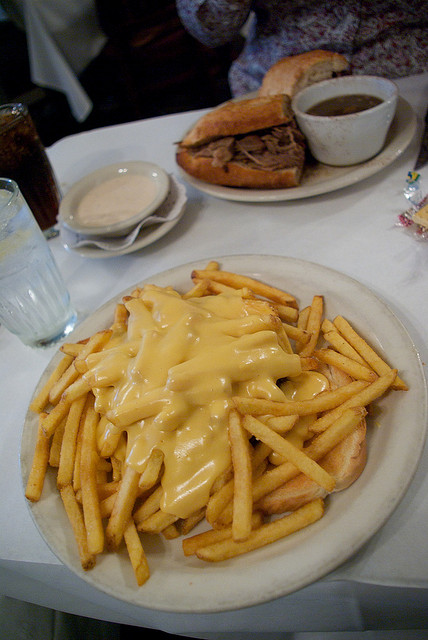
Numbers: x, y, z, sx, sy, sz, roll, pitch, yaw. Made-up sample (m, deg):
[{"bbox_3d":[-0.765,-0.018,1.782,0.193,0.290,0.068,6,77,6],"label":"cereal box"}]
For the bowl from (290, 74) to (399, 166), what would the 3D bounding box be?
[{"bbox_3d":[0.455,-0.683,1.836,0.346,0.209,0.335,-8,44,8],"label":"bowl"}]

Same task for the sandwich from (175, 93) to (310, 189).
[{"bbox_3d":[0.096,-0.747,2.059,0.509,0.195,0.584,0,43,4],"label":"sandwich"}]

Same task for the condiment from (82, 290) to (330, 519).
[{"bbox_3d":[-0.074,0.121,1.317,0.558,0.193,0.547,-43,54,-16],"label":"condiment"}]
